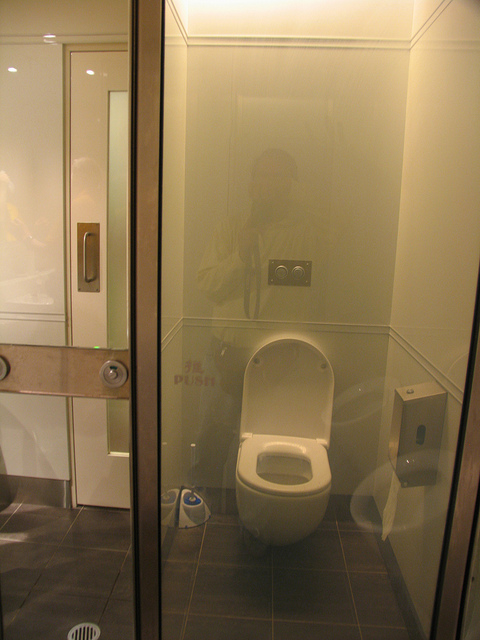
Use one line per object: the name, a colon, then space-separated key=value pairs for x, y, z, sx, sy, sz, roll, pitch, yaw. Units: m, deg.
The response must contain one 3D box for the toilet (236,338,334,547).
toilet: x=0.101 y=0.289 z=1.149 sx=0.145 sy=0.476 sz=0.214 roll=5 pitch=20 yaw=10
